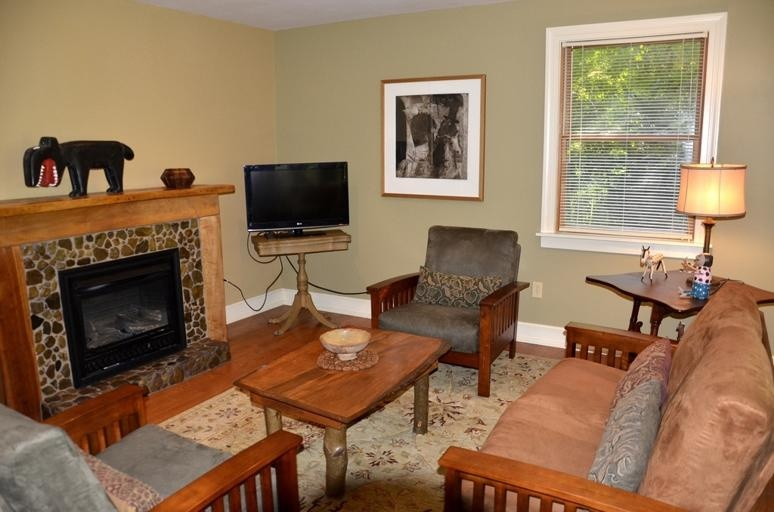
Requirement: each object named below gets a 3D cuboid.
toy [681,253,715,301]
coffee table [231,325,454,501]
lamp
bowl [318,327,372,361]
[{"bbox_3d":[2.174,0.156,3.786,0.300,0.279,0.213,-7,11,-29],"label":"toy"},{"bbox_3d":[-0.245,0.941,3.526,0.961,0.574,1.238,7,15,27],"label":"coffee table"},{"bbox_3d":[2.325,-0.329,3.900,0.422,0.721,0.667,8,16,31],"label":"lamp"},{"bbox_3d":[-0.257,0.568,3.458,0.325,0.132,0.321,-1,11,0],"label":"bowl"}]
